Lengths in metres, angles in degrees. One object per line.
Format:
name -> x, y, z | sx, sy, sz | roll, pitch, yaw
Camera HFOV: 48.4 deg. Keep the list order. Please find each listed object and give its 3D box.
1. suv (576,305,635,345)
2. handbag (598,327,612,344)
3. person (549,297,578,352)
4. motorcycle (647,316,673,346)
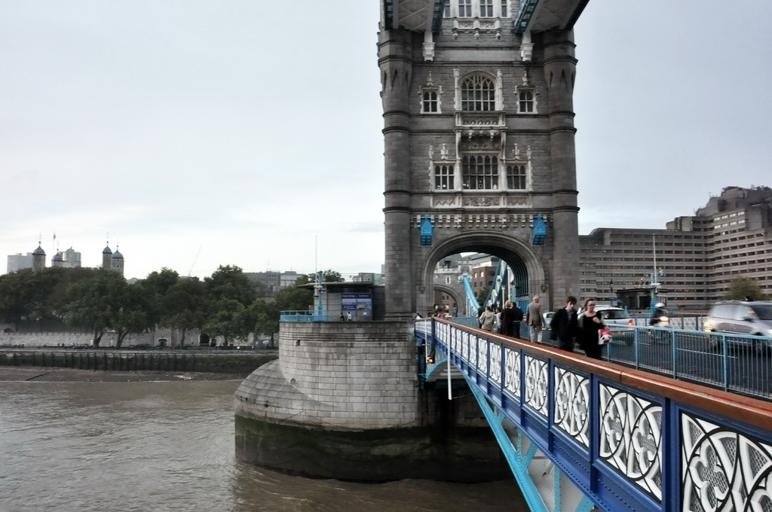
suv -> 13.939, 4.066, 52.558 | 2.368, 2.039, 4.346 | -9, 1, 14
handbag -> 10.825, 3.980, 42.638 | 0.646, 0.634, 0.832 | 3, -1, -9
person -> 8.934, 3.449, 43.110 | 1.241, 2.700, 1.430 | -1, 3, 11
motorcycle -> 14.365, 3.851, 44.160 | 0.371, 1.323, 1.507 | 2, -6, -2
